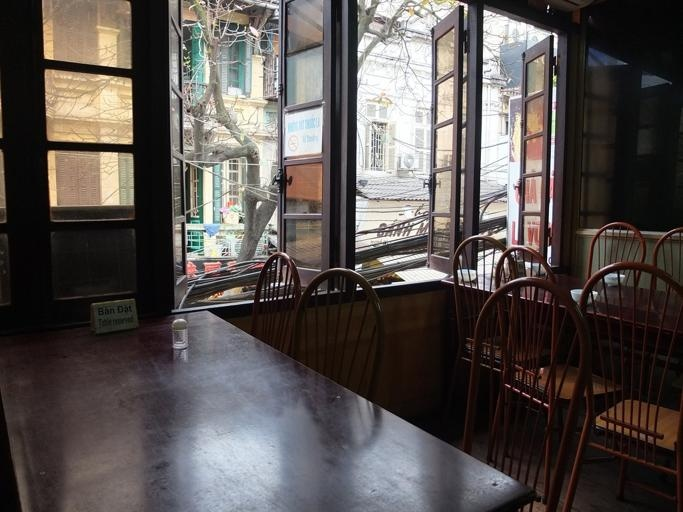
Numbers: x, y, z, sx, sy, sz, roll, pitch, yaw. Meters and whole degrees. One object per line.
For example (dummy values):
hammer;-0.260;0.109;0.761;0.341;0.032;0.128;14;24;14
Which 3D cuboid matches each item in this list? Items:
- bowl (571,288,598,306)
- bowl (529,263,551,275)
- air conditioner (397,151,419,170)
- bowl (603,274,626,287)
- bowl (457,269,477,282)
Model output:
bowl;1.108;0.185;2.365;0.102;0.053;0.106;0;1;0
bowl;1.186;0.075;3.112;0.071;0.098;0.067;-3;0;0
air conditioner;1.038;-1.501;8.179;0.415;0.264;0.126;-8;16;-37
bowl;1.546;0.134;2.953;0.082;0.059;0.086;4;0;0
bowl;0.797;0.117;3.305;0.107;0.050;0.112;-2;1;0
